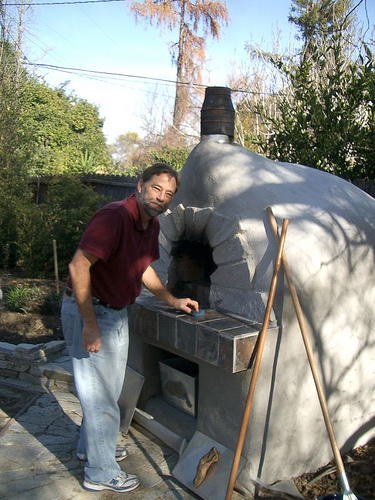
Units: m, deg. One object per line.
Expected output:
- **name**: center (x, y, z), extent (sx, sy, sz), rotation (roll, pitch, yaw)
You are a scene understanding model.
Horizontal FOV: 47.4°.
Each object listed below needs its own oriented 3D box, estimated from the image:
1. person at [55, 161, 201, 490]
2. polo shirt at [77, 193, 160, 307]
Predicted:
- **person**: center (-0.327, 0.414, 2.191), extent (0.584, 1.718, 0.461), rotation (-2, 4, -19)
- **polo shirt**: center (-0.328, -0.012, 2.224), extent (0.310, 0.540, 0.589), rotation (16, 6, 28)
